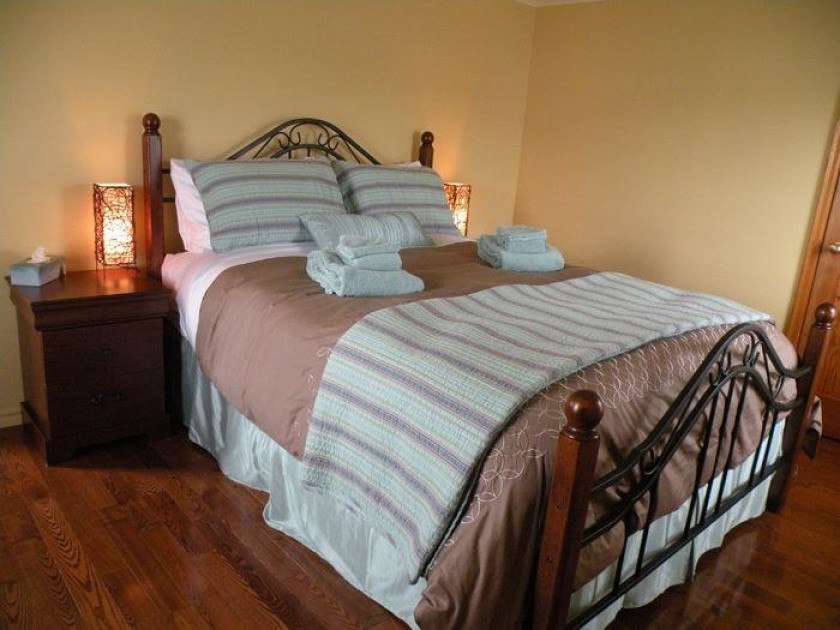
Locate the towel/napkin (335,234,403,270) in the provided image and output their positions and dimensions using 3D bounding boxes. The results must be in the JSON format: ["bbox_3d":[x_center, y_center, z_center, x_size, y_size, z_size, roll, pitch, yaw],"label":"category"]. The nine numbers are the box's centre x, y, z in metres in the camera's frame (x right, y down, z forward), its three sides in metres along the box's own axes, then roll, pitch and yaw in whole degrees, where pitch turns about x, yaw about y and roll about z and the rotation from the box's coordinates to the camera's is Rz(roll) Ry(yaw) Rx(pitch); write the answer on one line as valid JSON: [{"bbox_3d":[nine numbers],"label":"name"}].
[{"bbox_3d":[-0.227,-0.267,2.557,0.196,0.087,0.188,-1,18,-25],"label":"towel/napkin"}]

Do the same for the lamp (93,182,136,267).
[{"bbox_3d":[-1.559,-0.447,2.992,0.200,0.479,0.184,0,22,-24],"label":"lamp"}]

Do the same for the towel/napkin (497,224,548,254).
[{"bbox_3d":[0.545,-0.405,3.102,0.175,0.071,0.176,-2,18,-13],"label":"towel/napkin"}]

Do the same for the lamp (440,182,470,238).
[{"bbox_3d":[0.331,-0.775,4.309,0.194,0.364,0.191,11,14,36],"label":"lamp"}]

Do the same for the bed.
[{"bbox_3d":[0.059,-0.018,2.279,1.593,1.130,1.843,-15,26,-34],"label":"bed"}]
